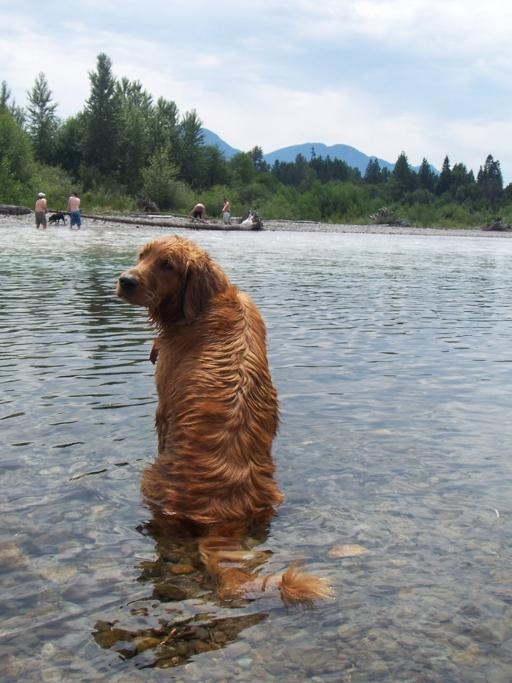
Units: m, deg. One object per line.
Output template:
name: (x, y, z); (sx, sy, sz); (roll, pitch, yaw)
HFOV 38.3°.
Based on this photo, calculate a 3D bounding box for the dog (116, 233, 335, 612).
dog: (-0.246, 0.319, 4.043); (0.831, 1.335, 2.225); (-1, 47, -9)
